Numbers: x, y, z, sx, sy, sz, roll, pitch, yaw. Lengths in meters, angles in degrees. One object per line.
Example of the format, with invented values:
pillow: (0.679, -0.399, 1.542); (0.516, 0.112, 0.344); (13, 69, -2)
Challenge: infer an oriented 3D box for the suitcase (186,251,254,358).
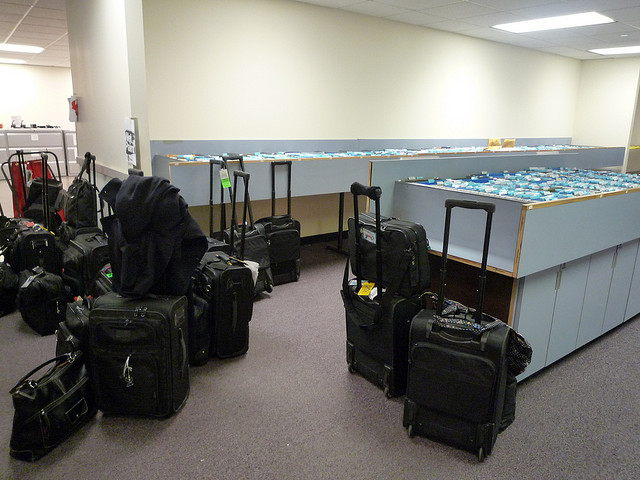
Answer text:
suitcase: (-0.824, 0.460, 3.702); (0.657, 0.665, 0.417); (12, 13, 43)

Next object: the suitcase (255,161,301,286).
suitcase: (-0.433, -0.173, 4.818); (0.462, 1.257, 0.311); (-7, 14, -29)

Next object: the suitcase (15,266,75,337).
suitcase: (-2.190, 0.481, 3.904); (0.294, 0.372, 0.372); (7, 16, 18)

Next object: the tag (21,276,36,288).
tag: (-2.284, 0.338, 3.772); (0.065, 0.056, 0.120); (1, 16, 7)

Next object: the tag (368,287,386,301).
tag: (0.356, 0.365, 3.186); (0.067, 0.091, 0.031); (4, -2, -36)

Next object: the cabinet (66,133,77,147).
cabinet: (-5.619, -2.248, 10.845); (0.172, 0.316, 0.134); (-7, 16, -21)

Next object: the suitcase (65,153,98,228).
suitcase: (-2.177, -0.434, 4.354); (0.254, 0.707, 0.297); (-2, 1, -41)

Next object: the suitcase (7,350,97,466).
suitcase: (-1.552, 1.024, 2.818); (0.239, 0.409, 0.464); (7, 24, 18)

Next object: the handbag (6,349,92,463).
handbag: (-1.579, 1.013, 2.828); (0.253, 0.425, 0.478); (4, 19, 20)

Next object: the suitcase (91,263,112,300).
suitcase: (-1.579, 0.313, 3.473); (0.118, 0.222, 0.153); (-11, 43, -34)

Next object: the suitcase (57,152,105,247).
suitcase: (-2.180, -0.359, 4.379); (0.410, 0.773, 0.378); (-6, 7, -6)

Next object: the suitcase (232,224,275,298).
suitcase: (-0.630, 0.183, 4.603); (0.445, 0.640, 0.416); (-17, 14, -36)

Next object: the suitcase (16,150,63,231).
suitcase: (-2.876, -0.609, 5.018); (0.277, 0.300, 0.720); (-23, 66, -29)

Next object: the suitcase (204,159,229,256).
suitcase: (-0.989, -0.285, 4.342); (0.307, 0.855, 0.246); (-5, 8, -39)

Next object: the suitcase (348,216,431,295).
suitcase: (0.440, 0.108, 3.259); (0.308, 0.522, 0.573); (-23, 26, -36)

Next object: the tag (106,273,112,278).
tag: (-1.518, 0.264, 3.464); (0.029, 0.022, 0.030); (3, 4, 2)

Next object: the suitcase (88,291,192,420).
suitcase: (-1.161, 0.731, 3.138); (0.509, 0.841, 0.560); (1, 11, -8)

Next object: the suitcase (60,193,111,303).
suitcase: (-1.961, 0.105, 4.125); (0.523, 0.841, 0.430); (13, 12, 38)

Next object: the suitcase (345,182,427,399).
suitcase: (0.427, 0.335, 3.183); (0.406, 1.419, 0.615); (-9, 17, -27)

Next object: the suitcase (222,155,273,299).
suitcase: (-0.699, -0.073, 4.556); (0.416, 1.272, 0.395); (-6, -5, -23)

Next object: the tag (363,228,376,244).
tag: (0.325, -0.020, 3.135); (0.096, 0.095, 0.059); (20, 27, 41)

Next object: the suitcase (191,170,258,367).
suitcase: (-0.777, 0.183, 3.589); (0.616, 1.422, 0.599); (1, 13, -14)

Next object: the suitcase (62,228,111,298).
suitcase: (-1.985, 0.281, 4.096); (0.390, 0.555, 0.327); (9, 9, 18)

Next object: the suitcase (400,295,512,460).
suitcase: (0.834, 0.825, 2.921); (0.548, 0.796, 0.418); (9, 14, 29)
